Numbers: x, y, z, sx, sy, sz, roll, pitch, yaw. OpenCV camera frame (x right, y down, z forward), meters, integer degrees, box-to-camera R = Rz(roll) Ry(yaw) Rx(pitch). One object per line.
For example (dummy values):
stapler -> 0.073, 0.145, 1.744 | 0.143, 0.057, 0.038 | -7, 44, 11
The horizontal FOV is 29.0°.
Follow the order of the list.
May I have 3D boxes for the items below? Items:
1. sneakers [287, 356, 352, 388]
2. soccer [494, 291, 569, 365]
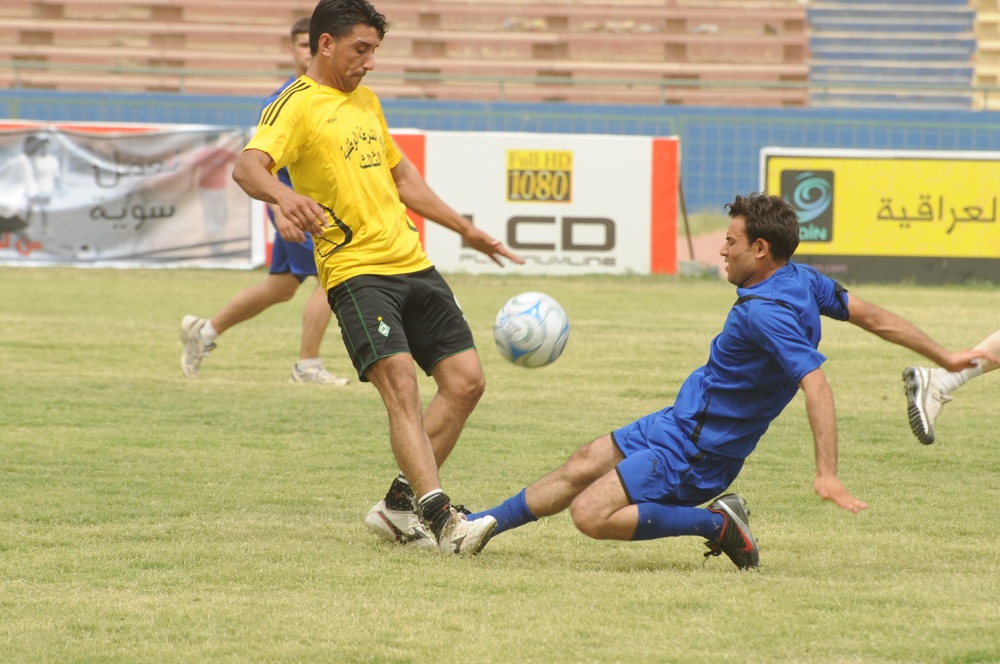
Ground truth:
sneakers -> -1.755, 0.396, 18.426 | 0.672, 0.253, 0.216 | 2, 3, -9
soccer -> 0.349, -0.046, 16.159 | 0.759, 0.556, 0.622 | 0, 4, 18
